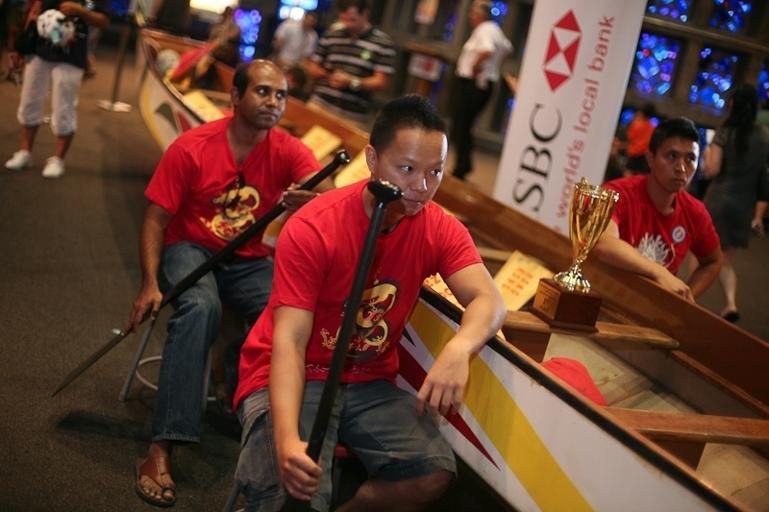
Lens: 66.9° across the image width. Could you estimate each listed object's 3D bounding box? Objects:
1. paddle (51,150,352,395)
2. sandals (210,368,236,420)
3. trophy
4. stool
[{"bbox_3d":[-0.851,0.082,2.597,0.147,1.719,0.117,47,-6,-21],"label":"paddle"},{"bbox_3d":[-0.811,0.701,2.921,0.111,0.349,0.105,-4,-26,-5],"label":"sandals"},{"bbox_3d":[0.813,-0.084,2.368,0.163,0.416,0.196,7,9,-35],"label":"trophy"},{"bbox_3d":[-1.013,0.536,2.861,0.431,0.706,0.559,-3,29,-9],"label":"stool"}]
